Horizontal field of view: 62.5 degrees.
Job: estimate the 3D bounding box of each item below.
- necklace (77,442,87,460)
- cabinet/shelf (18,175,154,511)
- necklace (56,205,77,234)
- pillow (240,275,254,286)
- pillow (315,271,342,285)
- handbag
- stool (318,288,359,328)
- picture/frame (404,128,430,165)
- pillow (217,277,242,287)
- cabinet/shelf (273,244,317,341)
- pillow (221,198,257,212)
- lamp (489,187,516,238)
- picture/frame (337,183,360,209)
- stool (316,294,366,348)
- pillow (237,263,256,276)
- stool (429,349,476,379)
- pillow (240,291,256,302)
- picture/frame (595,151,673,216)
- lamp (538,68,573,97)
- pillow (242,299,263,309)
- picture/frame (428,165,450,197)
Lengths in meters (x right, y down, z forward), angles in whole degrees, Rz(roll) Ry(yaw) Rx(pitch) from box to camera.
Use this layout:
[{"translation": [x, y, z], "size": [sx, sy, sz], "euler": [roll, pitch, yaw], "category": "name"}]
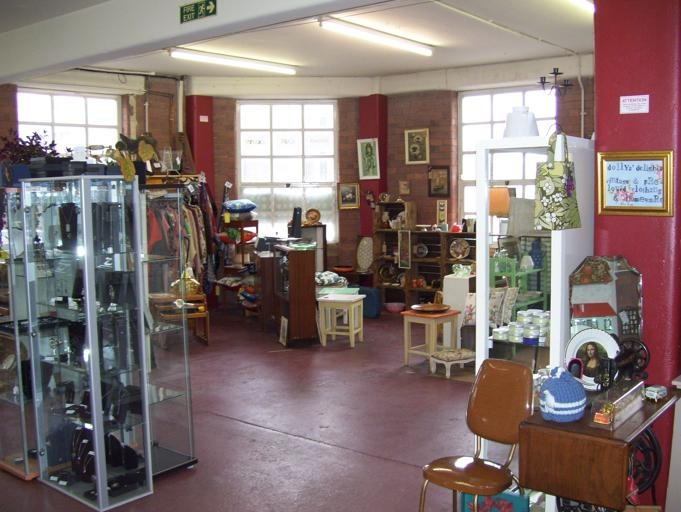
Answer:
[{"translation": [-1.904, 1.423, 4.142], "size": [0.104, 0.131, 0.031], "euler": [8, -7, 35], "category": "necklace"}, {"translation": [-1.924, 0.604, 4.189], "size": [0.964, 2.384, 0.468], "euler": [2, 8, 20], "category": "cabinet/shelf"}, {"translation": [-1.943, -0.270, 4.010], "size": [0.049, 0.225, 0.247], "euler": [-8, 11, -44], "category": "necklace"}, {"translation": [-1.592, 0.393, 9.734], "size": [0.187, 0.118, 0.188], "euler": [2, 7, 13], "category": "pillow"}, {"translation": [-0.147, 0.355, 9.003], "size": [0.487, 0.203, 0.264], "euler": [-1, 8, -7], "category": "pillow"}, {"translation": [1.465, -0.504, 3.762], "size": [0.306, 0.658, 0.275], "euler": [0, 8, 3], "category": "handbag"}, {"translation": [-0.024, 0.818, 8.574], "size": [0.628, 0.607, 0.642], "euler": [0, 1, 29], "category": "stool"}, {"translation": [1.413, -2.018, 10.267], "size": [0.636, 0.853, 0.058], "euler": [5, 9, 37], "category": "picture/frame"}, {"translation": [-1.938, 0.442, 9.932], "size": [0.256, 0.078, 0.226], "euler": [2, 5, 36], "category": "pillow"}, {"translation": [-0.668, 0.528, 8.217], "size": [0.481, 1.434, 0.751], "euler": [-4, 9, -26], "category": "cabinet/shelf"}, {"translation": [-1.802, -0.883, 9.983], "size": [0.532, 0.230, 0.294], "euler": [-3, 8, -16], "category": "pillow"}, {"translation": [1.365, -0.393, 4.744], "size": [0.195, 0.400, 0.650], "euler": [2, 8, 16], "category": "lamp"}, {"translation": [0.154, -1.179, 10.743], "size": [0.488, 0.569, 0.060], "euler": [0, 6, -4], "category": "picture/frame"}, {"translation": [0.015, 0.916, 8.378], "size": [0.711, 0.847, 0.722], "euler": [0, 2, 19], "category": "stool"}, {"translation": [-1.616, 0.220, 9.761], "size": [0.272, 0.098, 0.199], "euler": [-5, 13, -26], "category": "pillow"}, {"translation": [1.308, 1.214, 6.810], "size": [0.437, 0.210, 0.335], "euler": [-5, 5, -41], "category": "stool"}, {"translation": [-1.567, 0.674, 9.592], "size": [0.408, 0.157, 0.083], "euler": [6, 10, 41], "category": "pillow"}, {"translation": [2.043, -0.506, 3.862], "size": [0.436, 0.409, 0.045], "euler": [5, 9, 35], "category": "picture/frame"}, {"translation": [3.327, -2.722, 8.860], "size": [0.478, 0.352, 0.457], "euler": [-5, 9, -36], "category": "lamp"}, {"translation": [-1.555, 0.807, 9.558], "size": [0.208, 0.086, 0.267], "euler": [4, 4, 35], "category": "pillow"}, {"translation": [1.778, -1.367, 10.074], "size": [0.549, 0.739, 0.075], "euler": [3, 5, 37], "category": "picture/frame"}]
